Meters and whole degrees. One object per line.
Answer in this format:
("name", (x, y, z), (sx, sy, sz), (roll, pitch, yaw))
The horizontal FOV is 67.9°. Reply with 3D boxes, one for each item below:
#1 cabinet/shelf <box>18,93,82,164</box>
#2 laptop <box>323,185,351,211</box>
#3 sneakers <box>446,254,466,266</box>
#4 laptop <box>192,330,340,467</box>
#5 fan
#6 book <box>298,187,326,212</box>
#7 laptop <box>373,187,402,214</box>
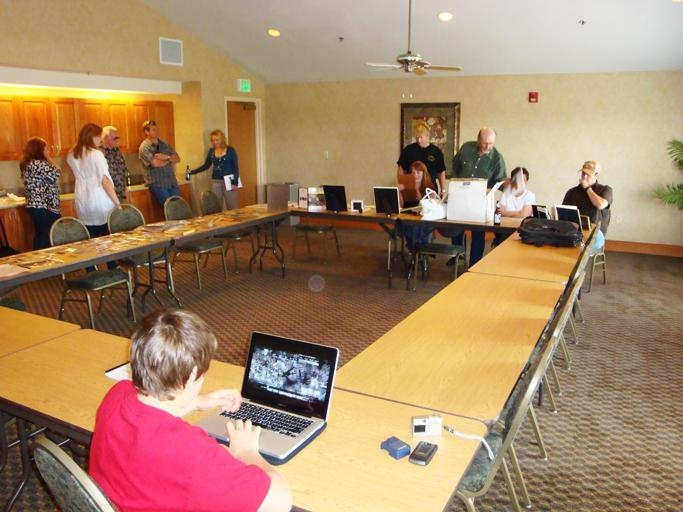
("cabinet/shelf", (-4.163, -1.817, 7.190), (0.459, 1.015, 1.197), (7, 14, 17))
("laptop", (-0.020, -0.786, 6.721), (0.405, 0.381, 0.311), (4, 15, 26))
("sneakers", (1.730, 0.060, 7.479), (0.186, 0.147, 0.377), (-1, 3, -30))
("laptop", (-0.287, 0.584, 2.075), (0.492, 0.323, 0.490), (10, 16, 34))
("fan", (1.089, -3.328, 7.755), (1.581, 1.472, 1.440), (1, 4, 1))
("book", (-0.378, -0.783, 6.912), (0.352, 0.336, 0.354), (14, 20, 43))
("laptop", (0.577, -0.688, 6.363), (0.361, 0.355, 0.132), (7, 29, 30))
